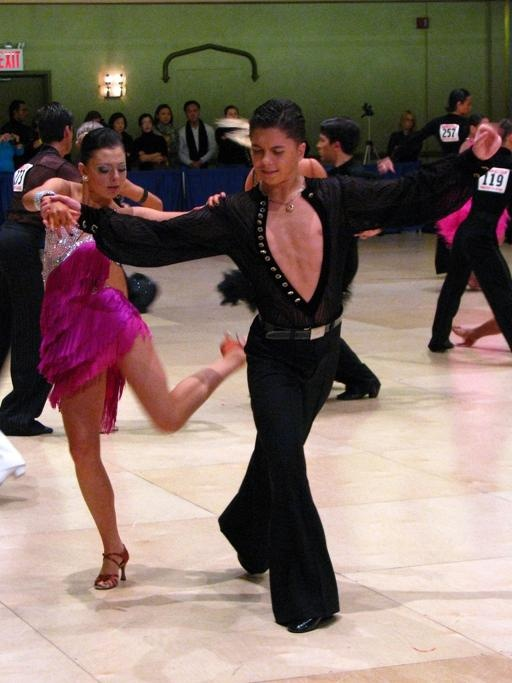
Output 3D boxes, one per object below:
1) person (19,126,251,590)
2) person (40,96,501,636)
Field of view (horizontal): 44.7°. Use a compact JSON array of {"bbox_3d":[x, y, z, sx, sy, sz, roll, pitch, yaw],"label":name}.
[{"bbox_3d":[-0.357,0.008,2.171,0.994,1.469,0.602,-2,-2,-40],"label":"person"},{"bbox_3d":[0.100,0.062,1.937,1.185,1.503,0.490,-2,2,-5],"label":"person"}]
